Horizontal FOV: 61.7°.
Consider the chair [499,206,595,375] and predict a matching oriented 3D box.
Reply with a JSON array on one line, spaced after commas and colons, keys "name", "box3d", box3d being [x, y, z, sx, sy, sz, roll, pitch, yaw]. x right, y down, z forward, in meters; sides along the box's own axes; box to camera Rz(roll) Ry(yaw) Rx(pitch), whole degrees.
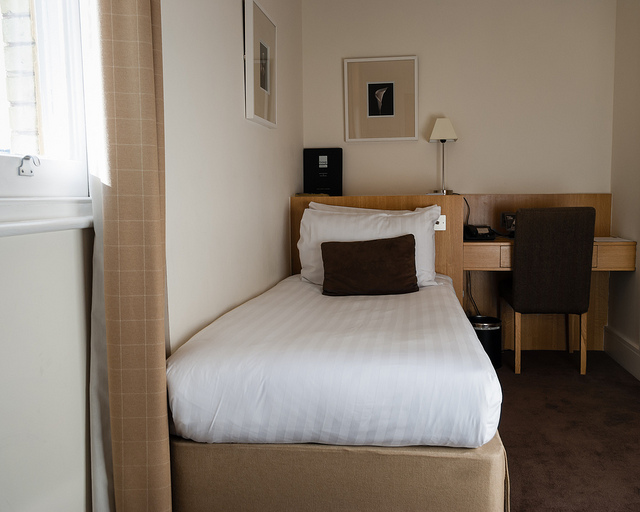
[{"name": "chair", "box3d": [1.427, 0.201, 3.384, 0.533, 1.018, 0.446, 2, 10, 20]}]

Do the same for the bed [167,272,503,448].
[{"name": "bed", "box3d": [0.058, 0.408, 2.143, 1.133, 0.301, 0.874, -1, 9, 6]}]

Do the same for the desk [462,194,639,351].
[{"name": "desk", "box3d": [1.509, 0.079, 3.389, 0.875, 1.055, 0.528, 0, 4, 9]}]
